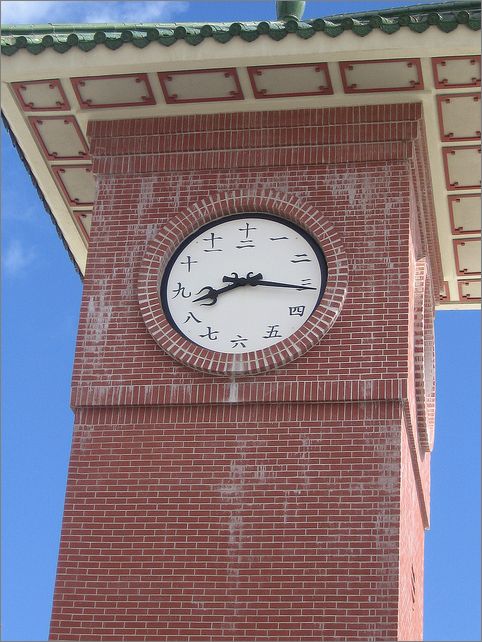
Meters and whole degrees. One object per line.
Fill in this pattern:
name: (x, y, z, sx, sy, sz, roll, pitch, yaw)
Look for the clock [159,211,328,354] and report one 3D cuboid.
clock: (0.019, -0.294, 14.915, 1.339, 1.360, 0.115, 6, -29, 13)
